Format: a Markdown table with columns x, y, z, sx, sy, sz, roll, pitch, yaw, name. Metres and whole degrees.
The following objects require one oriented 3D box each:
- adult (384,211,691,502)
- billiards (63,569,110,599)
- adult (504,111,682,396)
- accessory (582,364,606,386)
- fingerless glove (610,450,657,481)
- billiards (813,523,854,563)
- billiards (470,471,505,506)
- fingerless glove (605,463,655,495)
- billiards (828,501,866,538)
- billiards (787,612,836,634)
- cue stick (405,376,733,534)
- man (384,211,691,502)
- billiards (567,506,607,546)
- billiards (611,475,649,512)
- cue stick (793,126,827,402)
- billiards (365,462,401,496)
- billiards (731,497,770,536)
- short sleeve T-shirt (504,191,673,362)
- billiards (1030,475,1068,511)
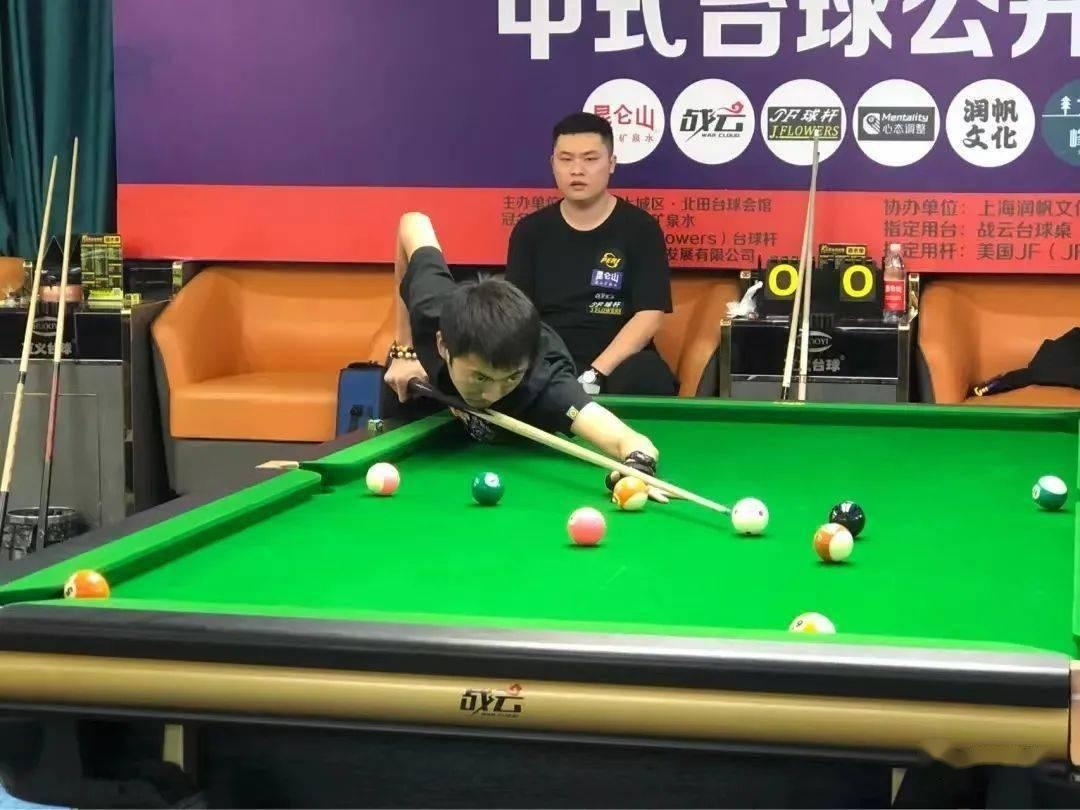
| x | y | z | sx | sy | sz | roll | pitch | yaw | name |
| --- | --- | --- | --- | --- | --- | --- | --- | --- | --- |
| -0.098 | -0.197 | 2.839 | 0.357 | 0.448 | 1.230 | -5 | 21 | -19 | adult |
| -0.653 | 0.260 | 1.562 | 0.045 | 0.037 | 0.048 | 17 | 24 | 17 | billiards |
| 0.167 | -0.413 | 4.402 | 0.717 | 1.534 | 0.874 | 4 | 16 | 17 | adult |
| 0.198 | -0.107 | 4.029 | 0.058 | 0.036 | 0.083 | 32 | 1 | -20 | accessory |
| 0.217 | 0.135 | 2.397 | 0.081 | 0.058 | 0.038 | -36 | -16 | -15 | fingerless glove |
| 0.499 | 0.238 | 1.829 | 0.060 | 0.066 | 0.063 | 3 | -4 | 4 | billiards |
| -0.107 | 0.175 | 2.215 | 0.057 | 0.066 | 0.061 | -6 | 11 | 2 | billiards |
| 0.182 | 0.157 | 2.358 | 0.061 | 0.047 | 0.073 | 2 | 9 | 27 | fingerless glove |
| 0.574 | 0.203 | 2.001 | 0.066 | 0.073 | 0.039 | 2 | 11 | 0 | billiards |
| 0.374 | 0.298 | 1.466 | 0.043 | 0.026 | 0.043 | 6 | -8 | -33 | billiards |
| 0.046 | 0.124 | 2.521 | 0.834 | 0.045 | 0.069 | 24 | -11 | 45 | cue stick |
| -0.121 | -0.198 | 2.867 | 0.357 | 0.448 | 1.230 | -5 | 21 | -19 | man |
| 0.084 | 0.208 | 1.948 | 0.061 | 0.065 | 0.064 | -12 | 46 | -8 | billiards |
| 0.185 | 0.184 | 2.182 | 0.068 | 0.057 | 0.055 | -32 | 46 | -14 | billiards |
| 1.127 | -0.582 | 4.492 | 0.044 | 0.047 | 1.671 | -12 | 42 | 26 | cue stick |
| -0.337 | 0.164 | 2.302 | 0.062 | 0.068 | 0.066 | -3 | -22 | 19 | billiards |
| 0.389 | 0.208 | 2.010 | 0.063 | 0.069 | 0.063 | -1 | -1 | -3 | billiards |
| 0.186 | -0.537 | 4.613 | 0.679 | 0.708 | 0.391 | 4 | 29 | 11 | short sleeve T-shirt |
| 1.023 | 0.173 | 2.183 | 0.064 | 0.048 | 0.065 | 31 | 22 | 21 | billiards |
